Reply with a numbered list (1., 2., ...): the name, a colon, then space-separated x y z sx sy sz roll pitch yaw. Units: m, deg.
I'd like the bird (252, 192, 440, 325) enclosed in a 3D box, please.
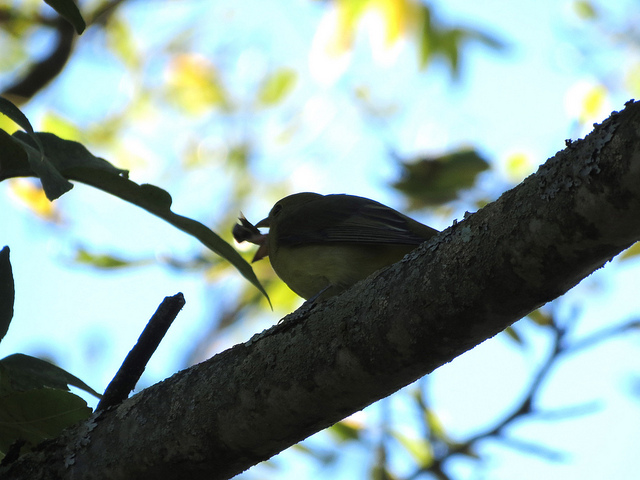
1. bird: 0.162 0.074 4.782 0.967 0.627 0.443 -33 -43 22
